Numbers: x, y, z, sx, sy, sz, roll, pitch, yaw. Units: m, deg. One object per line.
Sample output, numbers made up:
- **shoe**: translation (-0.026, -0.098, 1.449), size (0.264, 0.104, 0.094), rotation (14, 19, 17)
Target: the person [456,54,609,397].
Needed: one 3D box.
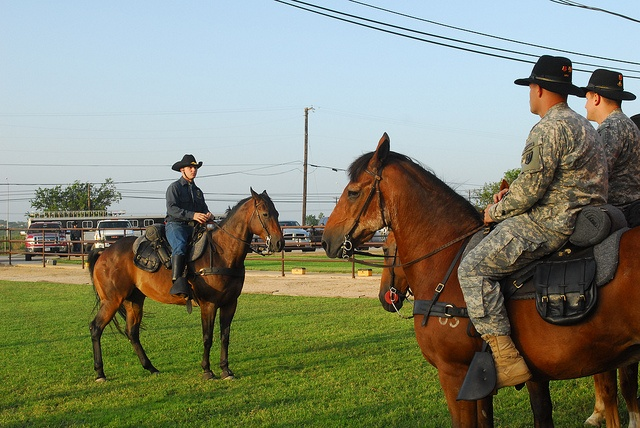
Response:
- **person**: translation (2.151, 0.048, 6.257), size (1.507, 3.363, 0.425), rotation (-2, 2, -7)

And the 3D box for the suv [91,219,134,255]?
- **suv**: translation (-7.082, 0.735, 20.705), size (1.263, 1.117, 2.186), rotation (-1, -8, -12)

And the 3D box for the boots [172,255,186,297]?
- **boots**: translation (-2.258, 0.955, 9.702), size (0.243, 0.578, 0.350), rotation (-2, 2, -12)

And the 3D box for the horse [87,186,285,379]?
- **horse**: translation (-2.307, 1.283, 10.322), size (3.825, 2.949, 1.135), rotation (-7, -8, 19)

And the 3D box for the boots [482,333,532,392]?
- **boots**: translation (1.870, 1.482, 6.094), size (0.646, 0.590, 0.302), rotation (-6, 0, 7)
